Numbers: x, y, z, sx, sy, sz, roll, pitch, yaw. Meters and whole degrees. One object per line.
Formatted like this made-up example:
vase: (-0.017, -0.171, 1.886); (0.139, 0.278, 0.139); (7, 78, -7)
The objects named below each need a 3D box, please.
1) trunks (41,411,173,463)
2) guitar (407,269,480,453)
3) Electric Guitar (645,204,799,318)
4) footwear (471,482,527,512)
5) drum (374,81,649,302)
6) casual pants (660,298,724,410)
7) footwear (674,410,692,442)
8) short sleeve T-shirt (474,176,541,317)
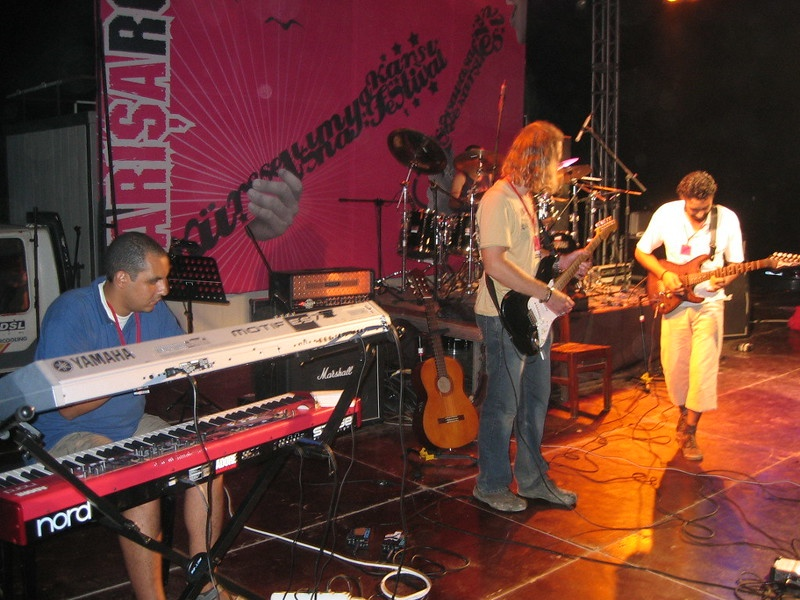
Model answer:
trunks: (-1.904, 0.941, 4.464); (0.425, 0.134, 2.054); (-2, -12, -17)
guitar: (0.366, 0.541, 5.573); (0.525, 1.294, 0.616); (0, 13, 2)
Electric Guitar: (2.382, -0.308, 5.441); (0.996, 0.824, 0.437); (3, 14, 13)
footwear: (0.673, 1.298, 4.702); (0.276, 0.109, 0.146); (4, 0, 31)
drum: (0.984, -1.287, 8.618); (2.625, 2.353, 2.664); (4, 14, -6)
casual pants: (2.248, 0.398, 5.408); (0.428, 0.896, 0.144); (-4, -18, 44)
footwear: (2.248, 0.990, 5.562); (0.075, 0.228, 0.095); (2, -8, 6)
short sleeve T-shirt: (0.714, -0.451, 4.429); (0.451, 0.600, 0.346); (-2, 13, -6)
